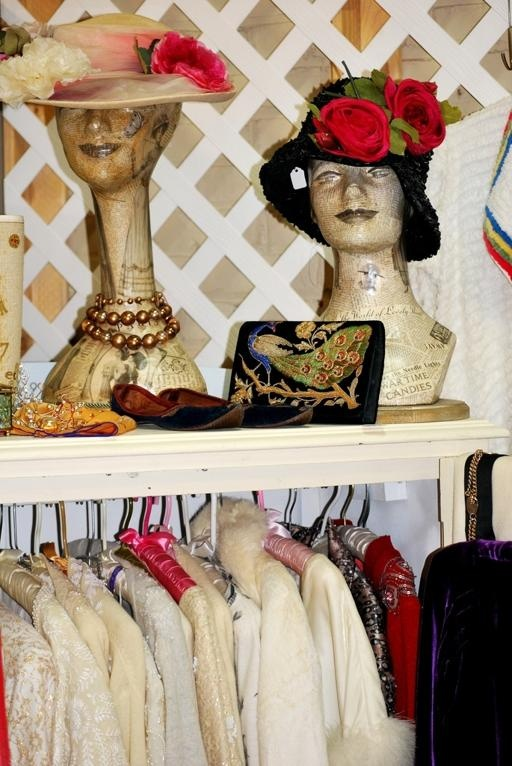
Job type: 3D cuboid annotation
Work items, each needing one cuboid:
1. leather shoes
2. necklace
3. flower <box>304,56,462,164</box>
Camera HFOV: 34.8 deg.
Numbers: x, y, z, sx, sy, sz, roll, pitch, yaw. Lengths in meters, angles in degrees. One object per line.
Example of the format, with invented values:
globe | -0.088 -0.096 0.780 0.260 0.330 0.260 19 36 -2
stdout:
leather shoes | -0.059 0.034 0.910 0.133 0.032 0.096 -5 -7 36
necklace | -0.159 -0.077 1.025 0.099 0.032 0.085 -8 23 -22
flower | 0.155 -0.332 1.003 0.193 0.126 0.121 -2 4 11
